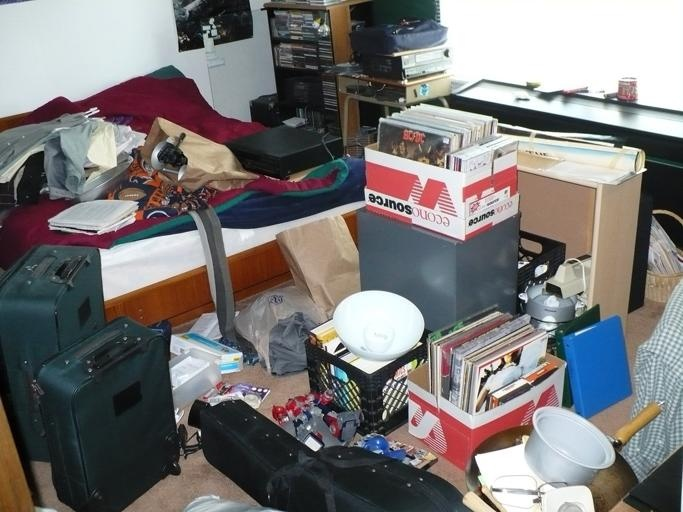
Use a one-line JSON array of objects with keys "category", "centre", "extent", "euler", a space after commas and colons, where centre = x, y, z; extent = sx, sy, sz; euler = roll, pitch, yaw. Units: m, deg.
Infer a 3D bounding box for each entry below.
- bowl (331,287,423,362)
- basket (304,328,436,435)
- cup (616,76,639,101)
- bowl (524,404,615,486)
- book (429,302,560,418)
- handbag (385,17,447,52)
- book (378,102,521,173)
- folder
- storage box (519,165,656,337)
[{"category": "bowl", "centre": [0.165, 0.285, 2.392], "extent": [0.317, 0.113, 0.323], "euler": [2, 43, -2]}, {"category": "basket", "centre": [0.140, 0.473, 2.467], "extent": [0.463, 0.340, 0.456], "euler": [-28, 38, -36]}, {"category": "cup", "centre": [1.989, -1.157, 3.772], "extent": [0.160, 0.174, 0.163], "euler": [-7, 27, 4]}, {"category": "bowl", "centre": [0.706, 0.585, 1.686], "extent": [0.233, 0.117, 0.239], "euler": [15, 42, -14]}, {"category": "book", "centre": [0.581, 0.406, 2.226], "extent": [0.451, 0.239, 0.281], "euler": [-22, 31, -30]}, {"category": "handbag", "centre": [0.598, -1.756, 4.410], "extent": [0.428, 0.141, 0.310], "euler": [-20, 38, -27]}, {"category": "book", "centre": [0.436, -0.525, 2.354], "extent": [0.473, 0.157, 0.341], "euler": [19, 37, 34]}, {"category": "folder", "centre": [1.099, 0.479, 2.385], "extent": [0.375, 0.375, 0.142], "euler": [-29, 20, -32]}, {"category": "storage box", "centre": [1.186, -0.035, 2.662], "extent": [0.287, 0.691, 0.733], "euler": [-10, 17, -27]}]
